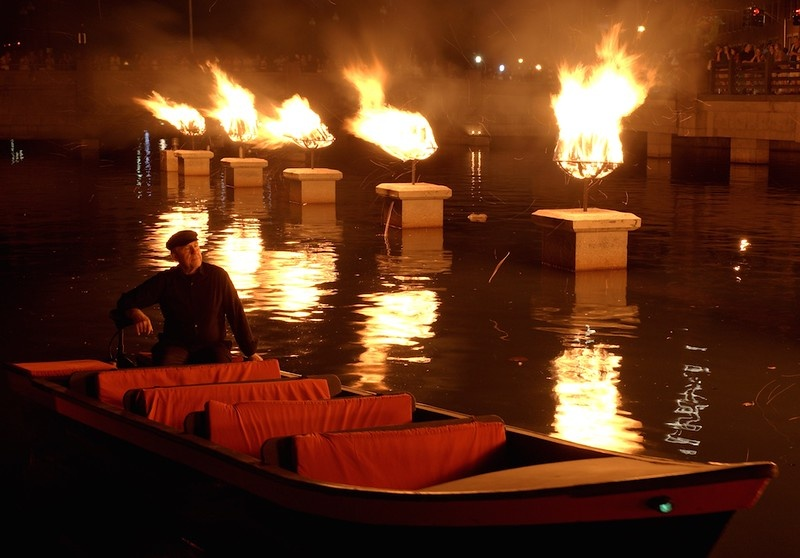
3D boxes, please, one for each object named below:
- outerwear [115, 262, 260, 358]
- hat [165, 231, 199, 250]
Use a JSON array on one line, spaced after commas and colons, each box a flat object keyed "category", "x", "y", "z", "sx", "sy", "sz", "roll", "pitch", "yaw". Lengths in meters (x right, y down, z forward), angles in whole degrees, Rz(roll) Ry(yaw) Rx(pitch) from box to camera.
[{"category": "outerwear", "x": -1.978, "y": 0.364, "z": 8.652, "sx": 1.435, "sy": 1.040, "sz": 0.748, "roll": -1, "pitch": 11, "yaw": -34}, {"category": "hat", "x": -2.102, "y": -0.327, "z": 8.552, "sx": 0.239, "sy": 0.088, "sz": 0.191, "roll": -16, "pitch": 4, "yaw": 22}]
